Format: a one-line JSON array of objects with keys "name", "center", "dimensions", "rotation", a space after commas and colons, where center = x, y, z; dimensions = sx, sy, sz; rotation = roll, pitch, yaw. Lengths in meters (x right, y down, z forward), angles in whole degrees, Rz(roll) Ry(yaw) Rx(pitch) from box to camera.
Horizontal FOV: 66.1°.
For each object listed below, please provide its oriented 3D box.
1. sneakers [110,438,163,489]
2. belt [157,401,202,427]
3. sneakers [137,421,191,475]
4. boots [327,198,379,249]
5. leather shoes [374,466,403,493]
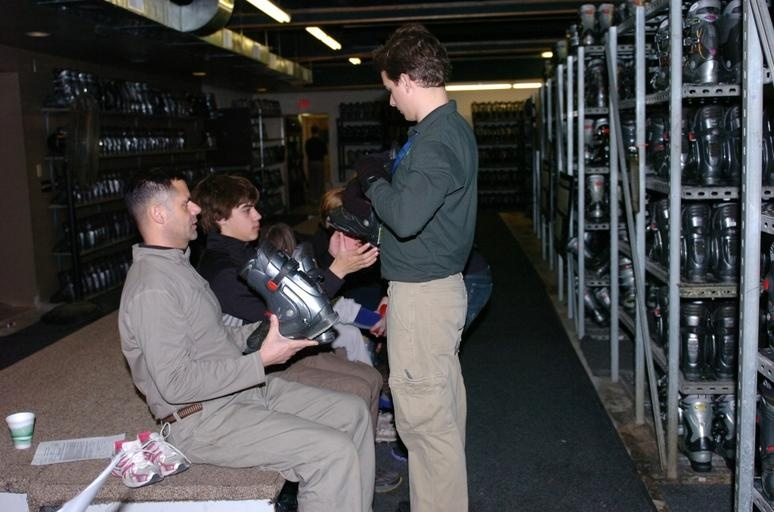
[{"name": "sneakers", "center": [-1.172, 0.964, 2.772], "dimensions": [0.219, 0.191, 0.114], "rotation": [7, 16, 35]}, {"name": "belt", "center": [-1.009, 0.772, 2.915], "dimensions": [0.147, 0.048, 0.109], "rotation": [-22, 5, 20]}, {"name": "sneakers", "center": [-1.122, 0.935, 2.873], "dimensions": [0.321, 0.141, 0.125], "rotation": [19, 5, 16]}, {"name": "boots", "center": [-0.119, -0.233, 3.177], "dimensions": [0.394, 0.268, 0.138], "rotation": [17, 32, 36]}, {"name": "leather shoes", "center": [0.008, 1.393, 3.705], "dimensions": [0.153, 0.051, 0.148], "rotation": [-1, 7, -10]}]
